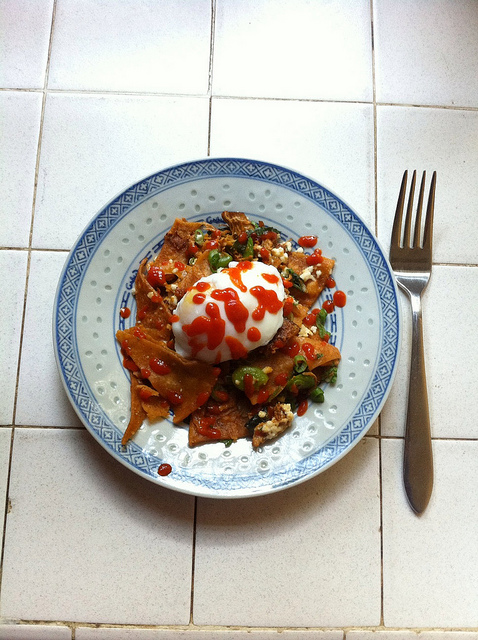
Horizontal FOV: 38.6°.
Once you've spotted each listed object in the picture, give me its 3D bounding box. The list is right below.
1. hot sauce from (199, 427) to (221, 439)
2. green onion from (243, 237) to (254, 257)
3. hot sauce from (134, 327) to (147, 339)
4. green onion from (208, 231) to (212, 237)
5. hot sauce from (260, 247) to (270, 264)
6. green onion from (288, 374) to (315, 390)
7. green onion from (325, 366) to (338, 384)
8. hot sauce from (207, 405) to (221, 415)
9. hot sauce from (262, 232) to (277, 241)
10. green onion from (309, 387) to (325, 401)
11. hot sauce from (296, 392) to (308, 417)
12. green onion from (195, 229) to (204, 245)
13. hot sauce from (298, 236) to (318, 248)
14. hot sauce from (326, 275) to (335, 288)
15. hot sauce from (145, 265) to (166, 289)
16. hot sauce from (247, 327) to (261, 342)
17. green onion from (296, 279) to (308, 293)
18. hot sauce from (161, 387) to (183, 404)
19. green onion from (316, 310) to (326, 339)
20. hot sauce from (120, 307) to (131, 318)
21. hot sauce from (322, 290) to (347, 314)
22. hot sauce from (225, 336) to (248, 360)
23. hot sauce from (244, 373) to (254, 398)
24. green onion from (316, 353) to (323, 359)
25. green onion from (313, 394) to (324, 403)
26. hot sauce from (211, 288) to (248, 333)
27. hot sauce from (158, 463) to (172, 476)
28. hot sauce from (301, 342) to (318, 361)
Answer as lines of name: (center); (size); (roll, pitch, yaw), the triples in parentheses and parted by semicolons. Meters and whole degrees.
hot sauce: (-0.090, 0.365, 2.184); (0.063, 0.020, 0.031); (17, 65, 4)
green onion: (0.034, -0.241, 2.269); (0.058, 0.017, 0.065); (1, 96, 1)
hot sauce: (-0.328, 0.048, 2.253); (0.027, 0.020, 0.046); (-44, 85, -4)
green onion: (-0.098, -0.288, 2.308); (0.018, 0.007, 0.021); (-3, 91, 27)
hot sauce: (0.087, -0.213, 2.274); (0.032, 0.022, 0.052); (-6, 111, 6)
green onion: (0.203, 0.201, 2.205); (0.085, 0.039, 0.046); (1, 84, 1)
green onion: (0.311, 0.182, 2.231); (0.040, 0.011, 0.048); (5, 95, 3)
hot sauce: (-0.080, 0.296, 2.223); (0.039, 0.013, 0.034); (-16, 84, -1)
hot sauce: (0.104, -0.281, 2.299); (0.046, 0.014, 0.023); (1, 84, 1)
green onion: (0.251, 0.239, 2.217); (0.044, 0.042, 0.036); (-29, 62, 2)
hot sauce: (0.208, 0.276, 2.232); (0.045, 0.014, 0.062); (1, 74, 7)
green onion: (-0.130, -0.276, 2.295); (0.038, 0.012, 0.045); (-7, 76, -11)
hot sauce: (0.232, -0.261, 2.299); (0.062, 0.018, 0.036); (3, 84, 1)
hot sauce: (0.308, -0.121, 2.296); (0.031, 0.016, 0.031); (-1, 91, 5)
hot sauce: (-0.275, -0.140, 2.253); (0.061, 0.046, 0.067); (-5, 84, 2)
hot sauce: (0.046, 0.047, 2.114); (0.042, 0.030, 0.043); (-5, 84, 1)
green onion: (0.216, -0.113, 2.269); (0.020, 0.009, 0.056); (-10, 82, -12)
hot sauce: (-0.213, 0.245, 2.200); (0.067, 0.022, 0.039); (40, 68, 15)
green onion: (0.279, 0.016, 2.278); (0.032, 0.015, 0.087); (0, 85, -8)
hot sauce: (-0.377, -0.023, 2.265); (0.029, 0.015, 0.033); (-5, 84, 0)
hot sauce: (0.326, -0.061, 2.289); (0.060, 0.025, 0.081); (47, 110, 12)
hot sauce: (-0.009, 0.086, 2.145); (0.050, 0.024, 0.082); (-39, 108, 9)
hot sauce: (0.031, 0.210, 2.167); (0.034, 0.022, 0.063); (-3, 100, 4)
green onion: (0.260, 0.120, 2.203); (0.021, 0.005, 0.016); (8, 84, 2)
green onion: (0.259, 0.258, 2.221); (0.033, 0.023, 0.027); (-2, 84, 1)
hot sauce: (-0.018, -0.031, 2.098); (0.067, 0.032, 0.151); (-31, 84, -3)
hot sauce: (-0.231, 0.470, 2.136); (0.036, 0.023, 0.038); (32, 85, 4)
hot sauce: (0.229, 0.105, 2.208); (0.035, 0.018, 0.058); (-14, 64, -5)
